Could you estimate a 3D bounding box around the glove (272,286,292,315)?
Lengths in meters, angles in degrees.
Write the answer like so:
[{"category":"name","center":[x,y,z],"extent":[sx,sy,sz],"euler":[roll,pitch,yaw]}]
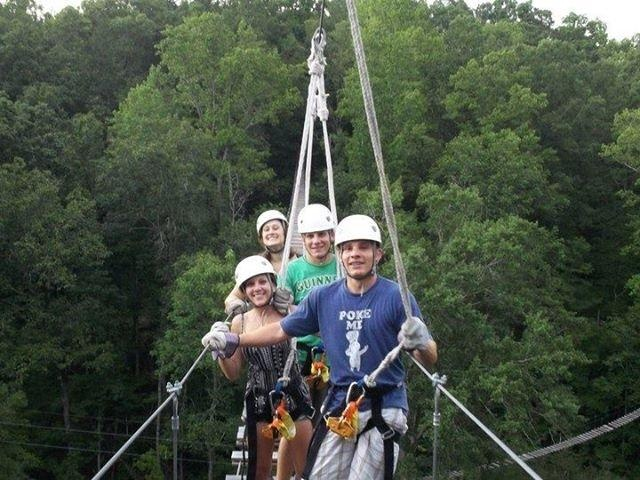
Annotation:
[{"category":"glove","center":[-1.060,1.733,20.805],"extent":[0.471,0.767,0.281],"euler":[0,3,-5]}]
